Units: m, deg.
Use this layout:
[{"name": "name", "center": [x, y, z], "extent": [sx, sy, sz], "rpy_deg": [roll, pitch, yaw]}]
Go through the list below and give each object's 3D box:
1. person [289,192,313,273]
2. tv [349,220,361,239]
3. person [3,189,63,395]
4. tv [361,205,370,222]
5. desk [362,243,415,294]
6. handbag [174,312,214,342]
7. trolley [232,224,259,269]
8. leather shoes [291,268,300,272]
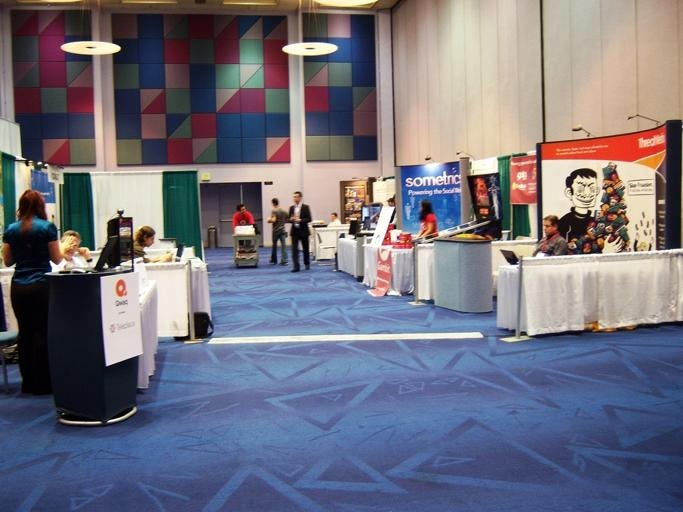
[{"name": "person", "center": [-0.939, -0.549, 12.802], "extent": [0.518, 1.701, 0.573], "rpy_deg": [-8, 15, -30]}, {"name": "tv", "center": [0.298, -0.610, 12.467], "extent": [0.180, 0.346, 0.631], "rpy_deg": [-4, 7, -16]}, {"name": "person", "center": [-2.515, 0.308, 4.812], "extent": [0.540, 1.688, 0.286], "rpy_deg": [2, 8, 33]}, {"name": "tv", "center": [0.526, -0.897, 12.529], "extent": [0.205, 0.347, 0.455], "rpy_deg": [-2, 6, 2]}, {"name": "desk", "center": [0.773, 0.203, 9.731], "extent": [0.529, 0.543, 0.926], "rpy_deg": [0, 1, -13]}, {"name": "handbag", "center": [-1.652, 0.810, 6.758], "extent": [0.298, 0.286, 0.347], "rpy_deg": [0, -6, 3]}, {"name": "trolley", "center": [-2.310, -0.294, 14.232], "extent": [0.488, 0.825, 1.224], "rpy_deg": [-3, 17, -8]}, {"name": "leather shoes", "center": [-0.996, 0.292, 12.682], "extent": [0.174, 0.093, 0.266], "rpy_deg": [-2, 6, -5]}]
